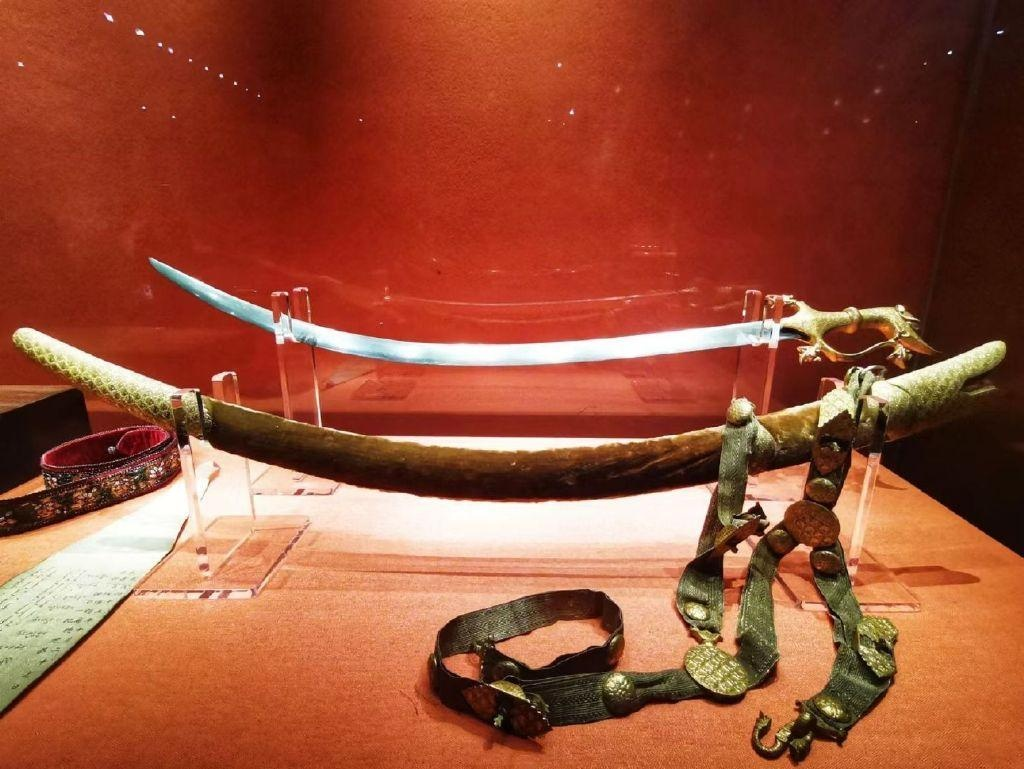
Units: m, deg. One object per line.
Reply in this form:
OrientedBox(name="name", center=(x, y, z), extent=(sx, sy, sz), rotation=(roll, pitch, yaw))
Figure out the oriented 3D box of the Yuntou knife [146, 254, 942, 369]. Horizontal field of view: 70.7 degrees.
OrientedBox(name="Yuntou knife", center=(0.174, -0.302, 2.801), extent=(2.239, 0.437, 0.195), rotation=(1, -49, 7))
